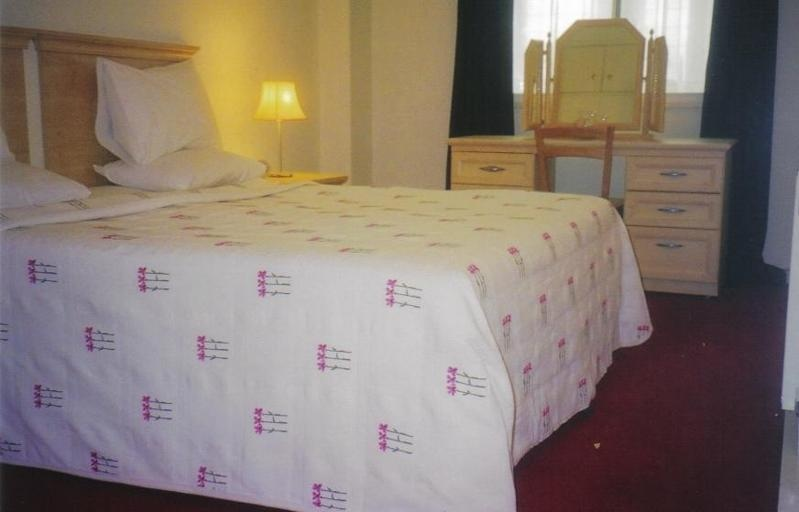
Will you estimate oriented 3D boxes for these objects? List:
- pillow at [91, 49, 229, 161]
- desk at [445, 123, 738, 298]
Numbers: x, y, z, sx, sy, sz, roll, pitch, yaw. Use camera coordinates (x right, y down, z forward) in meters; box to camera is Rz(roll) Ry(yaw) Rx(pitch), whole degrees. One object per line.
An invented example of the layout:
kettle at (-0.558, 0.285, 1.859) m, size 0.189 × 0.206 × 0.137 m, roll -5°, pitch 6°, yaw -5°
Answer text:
pillow at (-1.383, -0.723, 3.672) m, size 0.161 × 0.561 × 0.562 m, roll -13°, pitch -3°, yaw 42°
desk at (1.233, -0.280, 4.659) m, size 1.711 × 0.963 × 0.541 m, roll 2°, pitch 7°, yaw 14°
